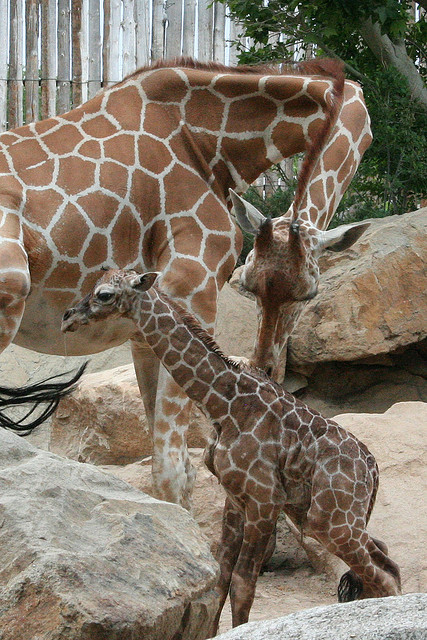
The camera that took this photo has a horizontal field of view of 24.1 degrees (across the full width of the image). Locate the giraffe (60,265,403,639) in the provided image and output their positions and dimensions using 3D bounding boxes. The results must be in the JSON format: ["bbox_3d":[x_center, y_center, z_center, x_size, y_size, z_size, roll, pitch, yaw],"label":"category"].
[{"bbox_3d":[0.152,0.575,4.408,1.490,1.513,0.624,8,13,11],"label":"giraffe"}]
